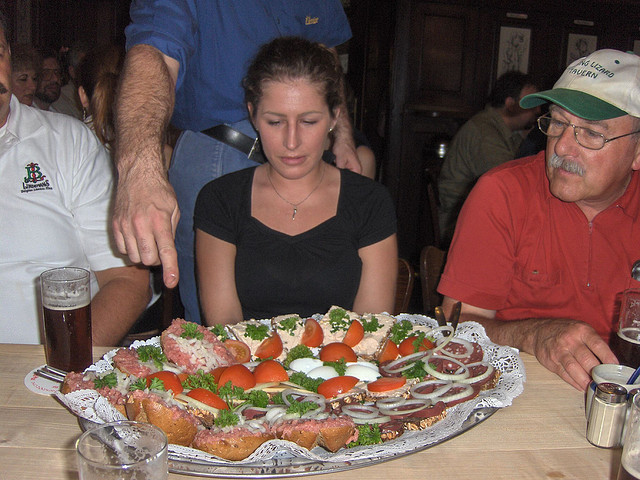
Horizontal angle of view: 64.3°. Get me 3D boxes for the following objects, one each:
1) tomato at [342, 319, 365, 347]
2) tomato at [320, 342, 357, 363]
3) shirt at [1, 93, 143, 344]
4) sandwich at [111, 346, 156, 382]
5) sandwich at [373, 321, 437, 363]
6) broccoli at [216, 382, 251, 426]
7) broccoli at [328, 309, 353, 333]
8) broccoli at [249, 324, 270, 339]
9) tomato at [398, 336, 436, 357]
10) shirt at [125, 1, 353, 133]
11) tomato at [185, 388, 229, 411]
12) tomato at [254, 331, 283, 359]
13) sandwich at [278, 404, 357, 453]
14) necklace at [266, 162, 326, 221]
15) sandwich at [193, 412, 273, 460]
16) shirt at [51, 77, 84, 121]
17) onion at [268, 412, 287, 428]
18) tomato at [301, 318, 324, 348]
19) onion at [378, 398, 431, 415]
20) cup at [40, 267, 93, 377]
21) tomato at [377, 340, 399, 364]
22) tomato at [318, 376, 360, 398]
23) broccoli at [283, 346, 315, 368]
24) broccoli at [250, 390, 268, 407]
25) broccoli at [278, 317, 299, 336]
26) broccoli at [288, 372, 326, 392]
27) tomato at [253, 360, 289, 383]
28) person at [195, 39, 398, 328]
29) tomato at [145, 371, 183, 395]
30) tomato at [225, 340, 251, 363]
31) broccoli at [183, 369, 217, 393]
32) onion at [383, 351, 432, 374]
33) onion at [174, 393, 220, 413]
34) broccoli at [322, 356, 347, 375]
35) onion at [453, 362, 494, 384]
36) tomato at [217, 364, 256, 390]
[{"bbox_3d":[0.132,0.369,2.015,0.073,0.108,0.134,18,19,2],"label":"tomato"},{"bbox_3d":[0.069,0.416,1.874,0.094,0.071,0.072,9,-11,-2],"label":"tomato"},{"bbox_3d":[-1.323,-0.111,2.561,0.589,1.145,0.424,-6,14,-35],"label":"shirt"},{"bbox_3d":[-0.591,0.379,1.677,0.114,0.197,0.046,7,41,-9],"label":"sandwich"},{"bbox_3d":[0.325,0.393,2.024,0.315,0.118,0.302,17,-15,-29],"label":"sandwich"},{"bbox_3d":[-0.267,0.490,1.519,0.079,0.080,0.032,-16,-13,-23],"label":"broccoli"},{"bbox_3d":[0.081,0.327,2.024,0.080,0.080,0.040,-2,-24,-5],"label":"broccoli"},{"bbox_3d":[-0.238,0.349,1.962,0.058,0.018,0.056,6,29,-20],"label":"broccoli"},{"bbox_3d":[0.362,0.383,1.882,0.100,0.077,0.074,-7,-1,-7],"label":"tomato"},{"bbox_3d":[-0.437,-0.861,2.556,0.990,0.785,0.324,-12,43,-25],"label":"shirt"},{"bbox_3d":[-0.349,0.481,1.550,0.090,0.047,0.070,31,7,-6],"label":"tomato"},{"bbox_3d":[-0.190,0.409,1.933,0.052,0.085,0.083,39,37,-6],"label":"tomato"},{"bbox_3d":[-0.008,0.544,1.477,0.228,0.106,0.130,1,11,-4],"label":"sandwich"},{"bbox_3d":[-0.132,-0.241,2.620,0.293,0.380,0.019,2,-5,-3],"label":"necklace"},{"bbox_3d":[-0.253,0.541,1.417,0.158,0.062,0.132,8,6,-3],"label":"sandwich"},{"bbox_3d":[-3.202,-1.870,6.523,0.252,0.471,0.369,-19,-15,-31],"label":"shirt"},{"bbox_3d":[-0.128,0.528,1.502,0.051,0.043,0.024,1,11,-6],"label":"onion"},{"bbox_3d":[-0.039,0.366,1.991,0.056,0.090,0.088,15,15,-17],"label":"tomato"},{"bbox_3d":[0.267,0.510,1.555,0.169,0.027,0.067,-1,11,-19],"label":"onion"},{"bbox_3d":[-0.861,0.286,1.739,0.145,0.327,0.117,-4,13,-28],"label":"cup"},{"bbox_3d":[0.257,0.422,1.923,0.051,0.068,0.067,15,-31,-1],"label":"tomato"},{"bbox_3d":[0.055,0.476,1.655,0.110,0.062,0.055,-9,54,-6],"label":"tomato"},{"bbox_3d":[-0.083,0.426,1.886,0.076,0.039,0.077,10,43,26],"label":"broccoli"},{"bbox_3d":[-0.182,0.483,1.547,0.043,0.043,0.019,-40,-7,-23],"label":"broccoli"},{"bbox_3d":[-0.119,0.343,1.996,0.064,0.064,0.028,2,-27,-10],"label":"broccoli"},{"bbox_3d":[-0.052,0.468,1.691,0.062,0.031,0.079,6,2,14],"label":"broccoli"},{"bbox_3d":[-0.168,0.450,1.725,0.123,0.057,0.090,5,11,18],"label":"tomato"},{"bbox_3d":[-0.114,-0.290,2.605,1.048,1.424,0.372,0,12,-8],"label":"person"},{"bbox_3d":[-0.484,0.445,1.580,0.108,0.076,0.103,-1,11,-17],"label":"tomato"},{"bbox_3d":[-0.302,0.414,1.903,0.064,0.052,0.126,-8,14,-41],"label":"tomato"},{"bbox_3d":[-0.382,0.458,1.624,0.071,0.030,0.071,26,25,-1],"label":"broccoli"},{"bbox_3d":[0.298,0.428,1.764,0.151,0.054,0.068,0,11,-12],"label":"onion"},{"bbox_3d":[-0.371,0.488,1.518,0.088,0.021,0.013,26,-1,-2],"label":"onion"},{"bbox_3d":[0.060,0.441,1.785,0.057,0.019,0.059,-6,41,6],"label":"broccoli"},{"bbox_3d":[0.519,0.447,1.702,0.092,0.041,0.145,10,13,37],"label":"onion"},{"bbox_3d":[-0.268,0.443,1.654,0.070,0.069,0.092,35,20,24],"label":"tomato"}]
